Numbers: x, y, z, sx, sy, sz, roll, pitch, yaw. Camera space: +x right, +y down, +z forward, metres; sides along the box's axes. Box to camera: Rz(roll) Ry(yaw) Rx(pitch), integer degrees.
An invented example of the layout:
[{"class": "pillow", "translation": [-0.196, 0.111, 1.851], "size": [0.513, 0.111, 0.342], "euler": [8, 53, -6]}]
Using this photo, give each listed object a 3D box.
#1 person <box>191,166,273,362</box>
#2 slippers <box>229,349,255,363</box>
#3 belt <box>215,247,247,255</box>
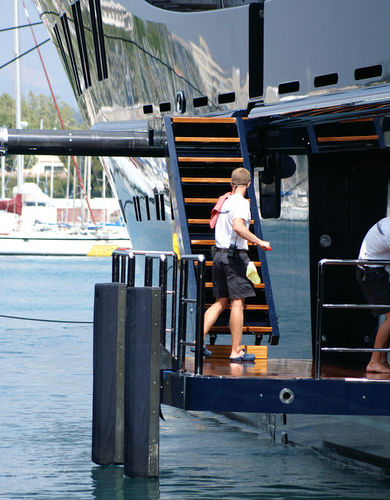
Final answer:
[{"class": "person", "translation": [0.344, 0.126, 8.638], "size": [0.591, 1.577, 0.497], "euler": [-1, -1, 24]}, {"class": "slippers", "translation": [0.401, 0.846, 8.811], "size": [0.164, 0.096, 0.102], "euler": [-3, 6, -25]}, {"class": "belt", "translation": [0.270, 0.002, 8.619], "size": [0.278, 0.055, 0.153], "euler": [-1, -1, 14]}]
